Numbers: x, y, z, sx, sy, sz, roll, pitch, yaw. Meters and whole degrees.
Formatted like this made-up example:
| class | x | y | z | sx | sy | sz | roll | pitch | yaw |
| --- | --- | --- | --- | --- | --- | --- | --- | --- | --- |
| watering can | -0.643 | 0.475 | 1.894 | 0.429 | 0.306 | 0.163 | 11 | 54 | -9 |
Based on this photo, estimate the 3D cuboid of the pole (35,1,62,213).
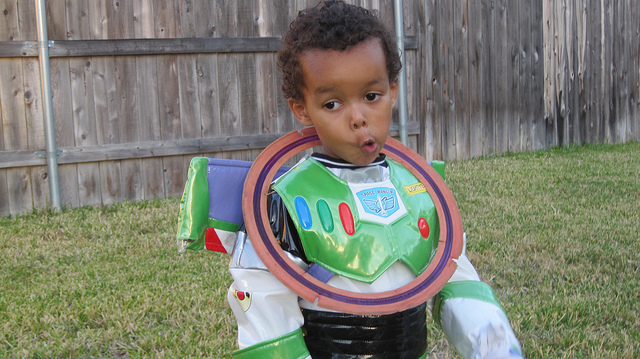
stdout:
| class | x | y | z | sx | sy | sz | roll | pitch | yaw |
| --- | --- | --- | --- | --- | --- | --- | --- | --- | --- |
| pole | -3.519 | -0.926 | 8.501 | 0.180 | 2.275 | 0.205 | -6 | 4 | -23 |

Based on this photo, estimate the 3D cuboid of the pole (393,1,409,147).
| class | x | y | z | sx | sy | sz | roll | pitch | yaw |
| --- | --- | --- | --- | --- | --- | --- | --- | --- | --- |
| pole | 1.192 | -1.538 | 9.605 | 0.184 | 2.119 | 0.581 | -4 | 4 | 8 |
